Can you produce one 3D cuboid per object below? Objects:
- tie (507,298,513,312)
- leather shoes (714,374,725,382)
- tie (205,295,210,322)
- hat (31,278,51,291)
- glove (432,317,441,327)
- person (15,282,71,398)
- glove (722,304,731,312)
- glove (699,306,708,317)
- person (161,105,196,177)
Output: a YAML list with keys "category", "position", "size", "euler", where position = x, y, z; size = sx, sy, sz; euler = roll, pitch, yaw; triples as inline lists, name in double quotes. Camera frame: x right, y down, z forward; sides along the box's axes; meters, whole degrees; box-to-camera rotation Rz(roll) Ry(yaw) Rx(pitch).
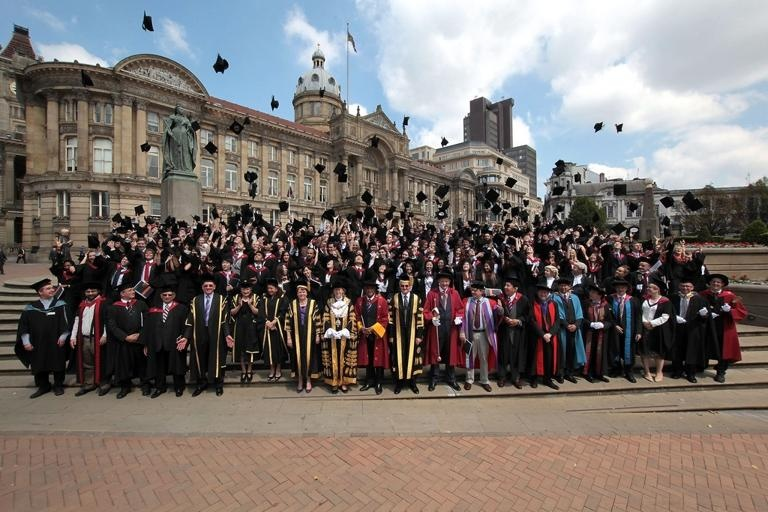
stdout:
- category: "tie"
  position: [4.098, 1.588, 21.058]
  size: [0.063, 0.255, 0.198]
  euler: [19, -19, -19]
- category: "leather shoes"
  position: [10.940, 3.983, 21.150]
  size: [0.326, 0.221, 0.301]
  euler: [-3, -4, 21]
- category: "tie"
  position: [-5.609, 1.671, 20.707]
  size: [0.205, 0.805, 0.156]
  euler: [-1, -4, 1]
- category: "hat"
  position: [-11.429, 0.970, 21.617]
  size: [0.376, 0.192, 0.507]
  euler: [-24, -3, 21]
- category: "glove"
  position: [1.675, 2.114, 20.831]
  size: [0.241, 0.294, 0.327]
  euler: [-2, -4, 12]
- category: "person"
  position: [-10.680, 2.570, 20.426]
  size: [1.478, 3.670, 0.534]
  euler: [1, -5, -23]
- category: "glove"
  position: [11.177, 1.696, 21.169]
  size: [0.206, 0.199, 0.249]
  euler: [-2, -18, 12]
- category: "glove"
  position: [10.425, 1.811, 21.193]
  size: [0.277, 0.339, 0.085]
  euler: [-2, -4, 7]
- category: "person"
  position: [-9.333, -5.133, 29.596]
  size: [1.355, 3.248, 0.816]
  euler: [0, -4, -19]
